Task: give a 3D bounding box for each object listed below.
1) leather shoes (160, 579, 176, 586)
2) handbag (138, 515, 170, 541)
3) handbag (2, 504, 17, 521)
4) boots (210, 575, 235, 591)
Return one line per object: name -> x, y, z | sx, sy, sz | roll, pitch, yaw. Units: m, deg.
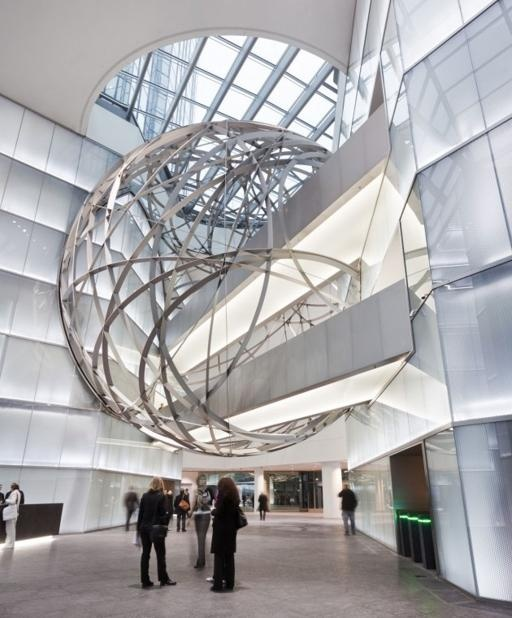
leather shoes -> -1.410, 4.507, 6.442 | 0.268, 0.133, 0.112 | -1, -36, -2
handbag -> -1.611, 3.561, 6.352 | 0.321, 0.306, 0.127 | 0, -8, 11
handbag -> -7.827, 6.630, 12.736 | 0.378, 0.485, 0.293 | 15, -23, -37
boots -> -0.498, 4.242, 6.101 | 0.344, 0.217, 0.558 | 3, -20, -5
